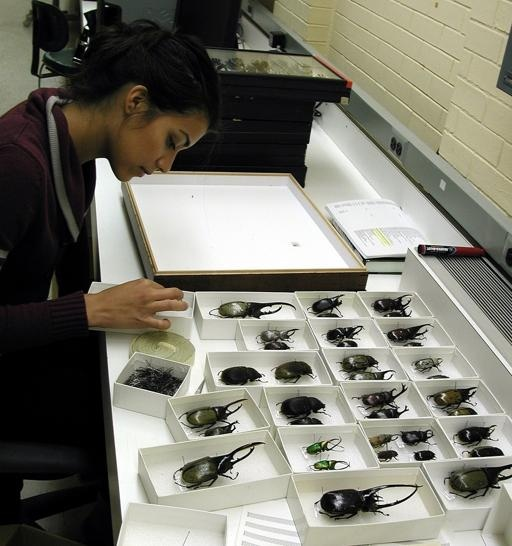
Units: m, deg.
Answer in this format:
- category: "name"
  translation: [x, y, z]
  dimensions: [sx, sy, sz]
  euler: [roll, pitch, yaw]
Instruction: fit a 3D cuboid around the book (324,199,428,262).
- category: "book"
  translation: [0.415, -0.161, 1.587]
  dimensions: [0.293, 0.059, 0.261]
  euler: [-6, 40, -21]
